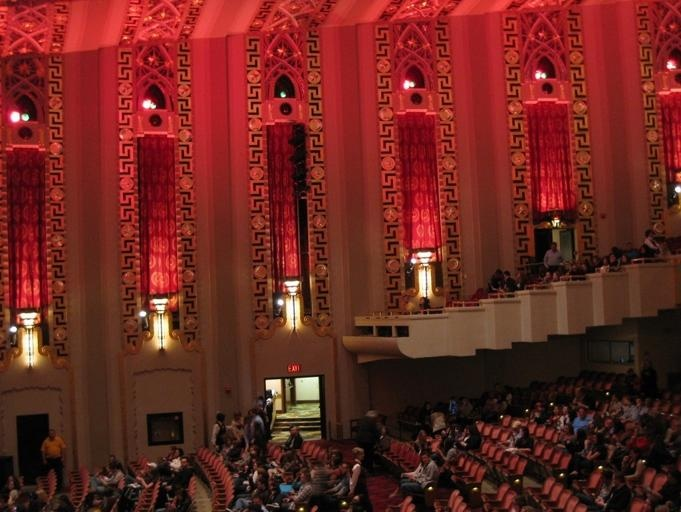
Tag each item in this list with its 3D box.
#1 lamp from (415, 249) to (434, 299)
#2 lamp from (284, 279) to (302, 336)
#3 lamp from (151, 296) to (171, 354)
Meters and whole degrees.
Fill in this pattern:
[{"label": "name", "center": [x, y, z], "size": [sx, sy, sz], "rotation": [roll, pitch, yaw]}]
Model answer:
[{"label": "lamp", "center": [2.625, 0.541, 23.207], "size": [0.672, 1.460, 1.852], "rotation": [-6, -6, 6]}, {"label": "lamp", "center": [-1.447, 1.521, 23.381], "size": [0.564, 1.641, 0.532], "rotation": [-5, -6, -7]}, {"label": "lamp", "center": [-5.431, 2.028, 22.837], "size": [0.568, 1.614, 0.395], "rotation": [-4, -6, -15]}]
